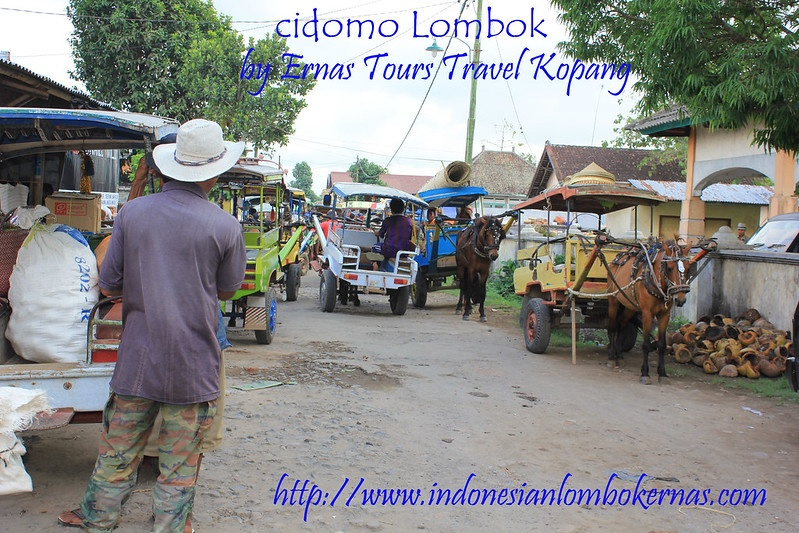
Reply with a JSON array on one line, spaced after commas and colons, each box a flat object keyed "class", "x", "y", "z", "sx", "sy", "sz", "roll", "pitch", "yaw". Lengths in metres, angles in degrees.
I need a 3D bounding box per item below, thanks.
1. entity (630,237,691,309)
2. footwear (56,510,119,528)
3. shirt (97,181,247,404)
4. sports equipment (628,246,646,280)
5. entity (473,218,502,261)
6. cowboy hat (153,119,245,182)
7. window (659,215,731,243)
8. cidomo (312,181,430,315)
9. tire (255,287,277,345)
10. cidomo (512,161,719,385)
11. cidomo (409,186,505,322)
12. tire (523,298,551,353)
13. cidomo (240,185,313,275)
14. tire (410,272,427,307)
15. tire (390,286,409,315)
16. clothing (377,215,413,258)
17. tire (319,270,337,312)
[{"class": "entity", "x": 4.063, "y": 0.104, "z": 10.015, "sx": 0.443, "sy": 0.940, "sz": 1.086, "roll": 0, "pitch": 10, "yaw": -22}, {"class": "footwear", "x": -2.644, "y": 2.105, "z": 5.457, "sx": 0.435, "sy": 0.116, "sz": 0.186, "roll": 12, "pitch": -11, "yaw": -29}, {"class": "shirt", "x": -1.865, "y": 0.551, "z": 5.461, "sx": 1.073, "sy": 2.821, "sz": 0.914, "roll": 3, "pitch": 2, "yaw": 0}, {"class": "sports equipment", "x": 3.810, "y": -0.036, "z": 10.354, "sx": 0.141, "sy": 0.575, "sz": 0.225, "roll": 23, "pitch": -25, "yaw": -1}, {"class": "entity", "x": 2.065, "y": -0.657, "z": 15.100, "sx": 0.361, "sy": 0.999, "sz": 0.846, "roll": -1, "pitch": 11, "yaw": -30}, {"class": "cowboy hat", "x": -1.707, "y": -0.978, "z": 5.456, "sx": 0.954, "sy": 0.371, "sz": 1.031, "roll": -10, "pitch": 14, "yaw": -21}, {"class": "window", "x": 9.664, "y": -1.287, "z": 21.040, "sx": 1.786, "sy": 0.991, "sz": 0.062, "roll": 0, "pitch": -4, "yaw": -5}, {"class": "cidomo", "x": -1.105, "y": -0.515, "z": 16.826, "sx": 2.443, "sy": 2.638, "sz": 4.339, "roll": 4, "pitch": 9, "yaw": -10}, {"class": "tire", "x": -2.306, "y": 0.836, "z": 10.937, "sx": 0.336, "sy": 0.969, "sz": 0.988, "roll": 2, "pitch": -3, "yaw": 7}, {"class": "cidomo", "x": 3.693, "y": -0.054, "z": 12.003, "sx": 2.256, "sy": 3.623, "sz": 5.784, "roll": 2, "pitch": -2, "yaw": -7}, {"class": "cidomo", "x": 1.536, "y": -0.406, "z": 16.775, "sx": 1.586, "sy": 2.870, "sz": 4.661, "roll": 0, "pitch": -2, "yaw": -18}, {"class": "tire", "x": 2.538, "y": 1.100, "z": 11.933, "sx": 0.370, "sy": 1.075, "sz": 0.998, "roll": 1, "pitch": -4, "yaw": -10}, {"class": "cidomo", "x": -4.293, "y": -1.475, "z": 22.967, "sx": 2.818, "sy": 2.598, "sz": 1.877, "roll": 4, "pitch": 1, "yaw": 5}, {"class": "tire", "x": 0.484, "y": 0.576, "z": 17.128, "sx": 0.338, "sy": 1.025, "sz": 0.961, "roll": 2, "pitch": 3, "yaw": -11}, {"class": "tire", "x": -0.043, "y": 0.782, "z": 15.467, "sx": 0.273, "sy": 0.788, "sz": 0.735, "roll": 1, "pitch": 1, "yaw": -15}, {"class": "clothing", "x": -0.109, "y": -0.750, "z": 15.886, "sx": 1.002, "sy": 1.244, "sz": 0.978, "roll": 1, "pitch": 2, "yaw": -5}, {"class": "tire", "x": -1.750, "y": 0.578, "z": 15.584, "sx": 0.287, "sy": 0.988, "sz": 1.014, "roll": 1, "pitch": -8, "yaw": -16}]
